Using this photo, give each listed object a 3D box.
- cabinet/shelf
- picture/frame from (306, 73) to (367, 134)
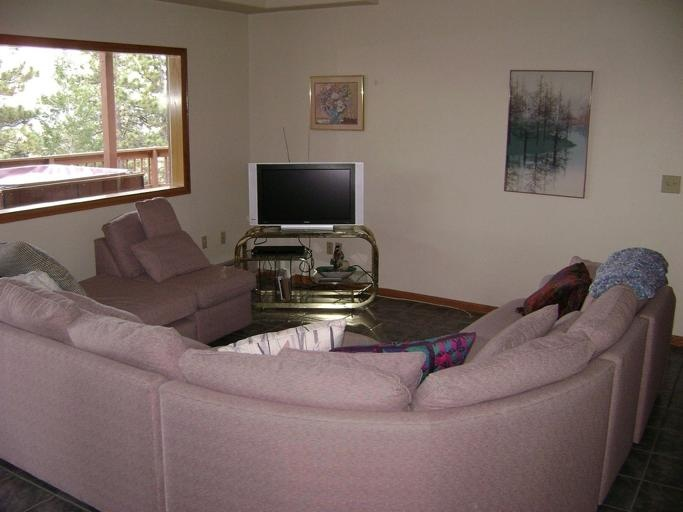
[{"bbox_3d":[-0.348,0.122,5.365,1.352,0.792,0.598,2,5,5],"label":"cabinet/shelf"},{"bbox_3d":[-0.041,-1.667,5.640,0.708,0.593,0.027,4,10,26],"label":"picture/frame"}]
